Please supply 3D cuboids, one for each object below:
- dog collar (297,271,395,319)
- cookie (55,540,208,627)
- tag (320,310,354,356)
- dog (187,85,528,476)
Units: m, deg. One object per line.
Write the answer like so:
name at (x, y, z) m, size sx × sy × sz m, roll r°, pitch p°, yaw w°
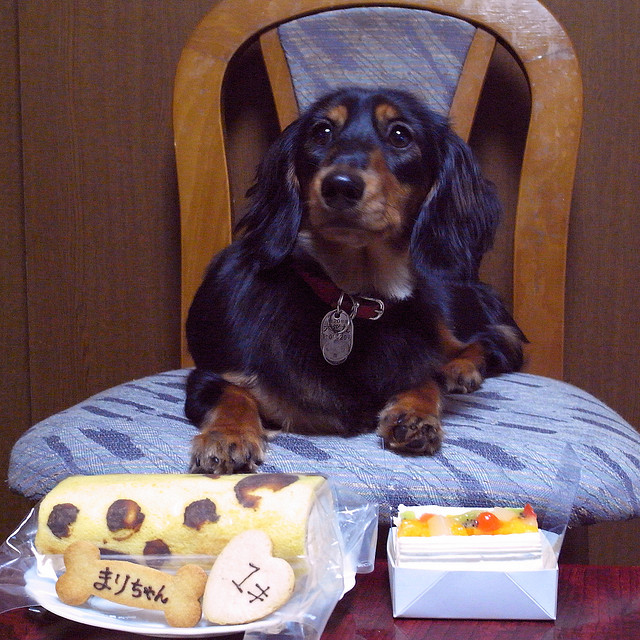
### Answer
dog collar at (0.097, -0.041, 1.472) m, size 0.105 × 0.029 × 0.111 m, roll 6°, pitch -35°, yaw 23°
cookie at (-0.233, 0.300, 0.817) m, size 0.173 × 0.071 × 0.022 m, roll 12°, pitch -9°, yaw 10°
tag at (0.037, 0.026, 1.458) m, size 0.068 × 0.082 × 0.055 m, roll 0°, pitch 2°, yaw 3°
dog at (0.114, -0.142, 1.861) m, size 0.847 × 0.710 × 1.276 m, roll 1°, pitch 4°, yaw 7°
